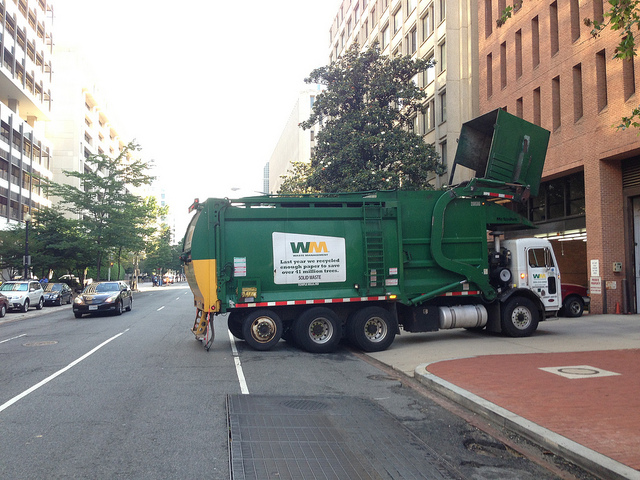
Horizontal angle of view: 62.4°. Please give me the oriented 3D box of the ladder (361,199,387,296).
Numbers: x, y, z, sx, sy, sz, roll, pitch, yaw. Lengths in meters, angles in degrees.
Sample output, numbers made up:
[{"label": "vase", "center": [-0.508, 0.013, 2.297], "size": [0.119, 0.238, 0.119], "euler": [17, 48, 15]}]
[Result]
[{"label": "ladder", "center": [1.414, 0.190, 13.909], "size": [0.573, 2.479, 0.341], "euler": [-1, 2, -12]}]

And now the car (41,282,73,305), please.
[{"label": "car", "center": [-17.304, 3.474, 35.073], "size": [1.187, 0.857, 2.386], "euler": [-1, -11, -1]}]

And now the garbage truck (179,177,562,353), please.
[{"label": "garbage truck", "center": [1.507, 0.727, 16.491], "size": [10.524, 5.773, 4.507], "euler": [-1, -2, -15]}]

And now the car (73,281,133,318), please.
[{"label": "car", "center": [-10.056, 2.769, 24.643], "size": [1.753, 1.564, 3.241], "euler": [0, 2, -5]}]
